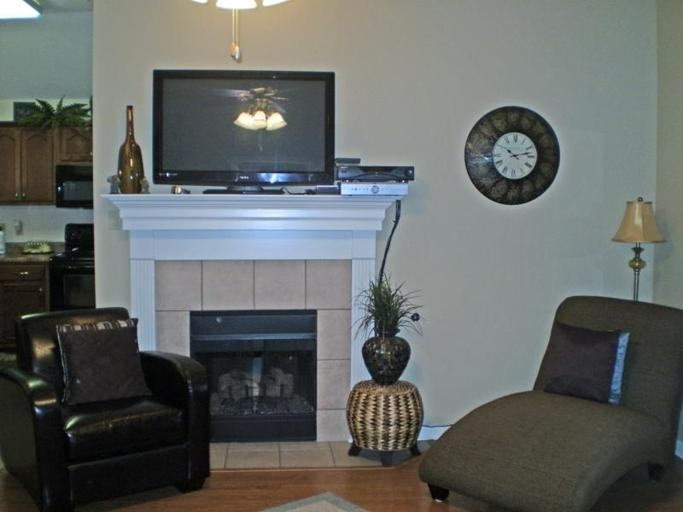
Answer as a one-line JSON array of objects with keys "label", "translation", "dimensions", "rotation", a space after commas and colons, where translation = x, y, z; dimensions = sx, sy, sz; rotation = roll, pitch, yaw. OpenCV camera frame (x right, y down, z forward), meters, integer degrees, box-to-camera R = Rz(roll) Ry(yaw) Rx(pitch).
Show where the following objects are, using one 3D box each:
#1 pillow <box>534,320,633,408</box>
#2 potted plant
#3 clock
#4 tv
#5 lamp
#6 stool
[{"label": "pillow", "translation": [1.531, 0.657, 4.309], "dimensions": [0.496, 0.536, 0.162], "rotation": [-1, -34, 29]}, {"label": "potted plant", "translation": [0.295, 0.497, 4.566], "dimensions": [0.680, 0.812, 0.610], "rotation": [0, -1, 34]}, {"label": "clock", "translation": [1.264, -0.708, 4.879], "dimensions": [0.688, 0.704, 0.160], "rotation": [-3, 6, -5]}, {"label": "tv", "translation": [-0.709, -0.887, 4.626], "dimensions": [0.849, 0.603, 0.138], "rotation": [1, 5, -3]}, {"label": "lamp", "translation": [2.134, -0.035, 4.846], "dimensions": [0.330, 0.793, 0.479], "rotation": [6, 14, 24]}, {"label": "stool", "translation": [0.285, 1.100, 4.417], "dimensions": [0.511, 0.442, 0.519], "rotation": [0, 0, 3]}]
